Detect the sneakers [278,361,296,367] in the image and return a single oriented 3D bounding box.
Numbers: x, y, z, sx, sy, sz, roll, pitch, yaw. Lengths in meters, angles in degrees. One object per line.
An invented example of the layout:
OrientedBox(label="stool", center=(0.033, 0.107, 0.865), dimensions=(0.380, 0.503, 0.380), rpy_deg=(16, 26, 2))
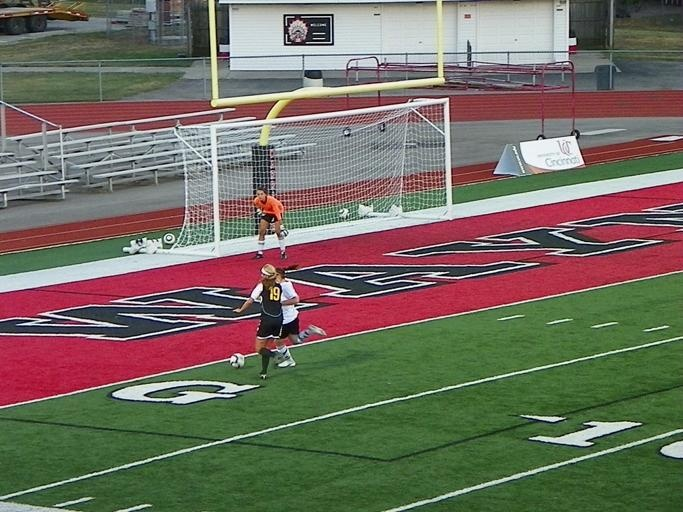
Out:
OrientedBox(label="sneakers", center=(-0.864, 1.690, 18.557), dimensions=(0.271, 0.065, 0.100), rpy_deg=(0, 8, -5))

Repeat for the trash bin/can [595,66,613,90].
OrientedBox(label="trash bin/can", center=(9.993, -6.867, 45.515), dimensions=(0.641, 1.006, 1.205), rpy_deg=(0, 10, 10))

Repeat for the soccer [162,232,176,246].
OrientedBox(label="soccer", center=(-3.789, -0.397, 26.017), dimensions=(0.405, 0.220, 0.101), rpy_deg=(0, -3, 5))

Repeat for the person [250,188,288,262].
OrientedBox(label="person", center=(-1.501, -0.678, 24.578), dimensions=(0.659, 1.480, 1.140), rpy_deg=(-3, 11, -3))

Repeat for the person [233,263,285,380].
OrientedBox(label="person", center=(-1.154, 0.990, 18.044), dimensions=(0.586, 1.769, 0.531), rpy_deg=(-6, 13, -16))
